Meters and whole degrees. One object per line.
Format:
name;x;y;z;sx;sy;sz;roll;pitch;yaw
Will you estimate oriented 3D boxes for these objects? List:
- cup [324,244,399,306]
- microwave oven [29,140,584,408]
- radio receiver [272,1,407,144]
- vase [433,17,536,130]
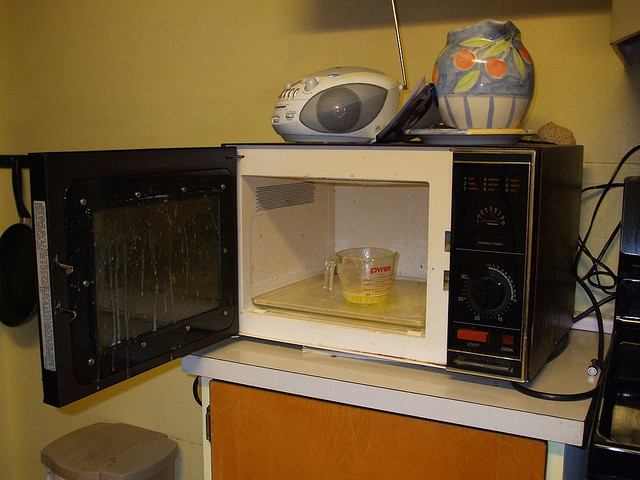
cup;0.106;0.073;1.322;0.136;0.104;0.125;-3;4;0
microwave oven;0.044;0.040;1.067;0.630;0.446;0.915;6;10;39
radio receiver;0.034;-0.290;1.211;0.275;0.158;0.122;1;7;10
vase;0.337;-0.324;1.165;0.189;0.251;0.194;9;17;37
